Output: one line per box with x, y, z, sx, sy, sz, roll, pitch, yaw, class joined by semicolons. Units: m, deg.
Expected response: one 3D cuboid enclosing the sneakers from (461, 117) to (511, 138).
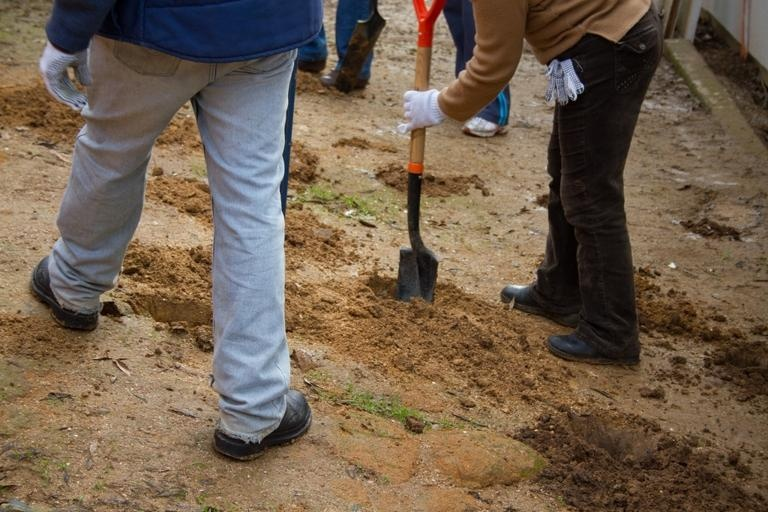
0.922;-1.175;7.810;0.421;0.174;0.161;3;32;-21;sneakers

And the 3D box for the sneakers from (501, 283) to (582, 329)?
1.007;0.292;5.622;0.584;0.216;0.193;22;27;20;sneakers

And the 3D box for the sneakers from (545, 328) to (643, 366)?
1.275;0.552;5.267;0.572;0.220;0.210;10;7;1;sneakers

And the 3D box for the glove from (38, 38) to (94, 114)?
-1.495;-0.886;4.046;0.242;0.350;0.105;-6;52;-3;glove
